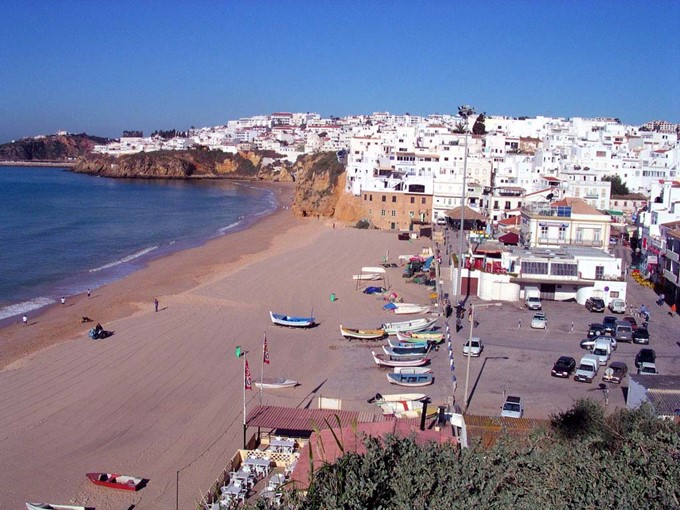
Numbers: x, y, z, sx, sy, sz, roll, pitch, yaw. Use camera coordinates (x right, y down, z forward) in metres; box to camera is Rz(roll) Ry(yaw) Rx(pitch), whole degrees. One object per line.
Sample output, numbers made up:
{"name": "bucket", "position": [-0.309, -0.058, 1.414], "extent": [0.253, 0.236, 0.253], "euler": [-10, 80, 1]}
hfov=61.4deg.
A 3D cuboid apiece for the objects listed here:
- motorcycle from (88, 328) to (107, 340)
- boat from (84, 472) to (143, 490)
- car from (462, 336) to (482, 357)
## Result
{"name": "motorcycle", "position": [-14.368, 4.652, 34.004], "extent": [1.003, 0.684, 0.879], "euler": [-2, -6, -22]}
{"name": "boat", "position": [-8.144, 8.064, 20.415], "extent": [2.000, 0.302, 0.749], "euler": [6, 3, 7]}
{"name": "car", "position": [6.731, 4.762, 29.077], "extent": [1.071, 0.849, 2.244], "euler": [-1, 2, 16]}
